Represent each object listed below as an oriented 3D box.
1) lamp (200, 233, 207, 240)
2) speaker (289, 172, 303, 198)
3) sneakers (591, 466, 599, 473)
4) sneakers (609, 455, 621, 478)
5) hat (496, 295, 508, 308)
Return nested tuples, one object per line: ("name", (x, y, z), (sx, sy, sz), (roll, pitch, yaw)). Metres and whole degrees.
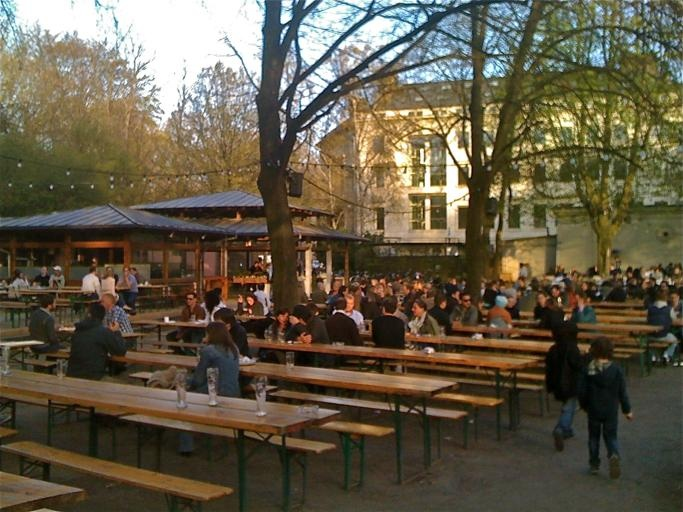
("lamp", (-6.401, -0.909, 32.246), (0.237, 0.297, 0.680), (1, 6, 8))
("speaker", (-1.071, -1.707, 16.296), (0.342, 0.584, 1.113), (0, 6, -5))
("sneakers", (3.537, 2.970, 9.583), (0.058, 0.059, 0.137), (0, 3, 14))
("sneakers", (3.732, 2.842, 9.333), (0.149, 0.311, 0.133), (1, -5, 4))
("hat", (3.687, 1.042, 15.750), (0.285, 0.294, 0.381), (5, 21, 22))
